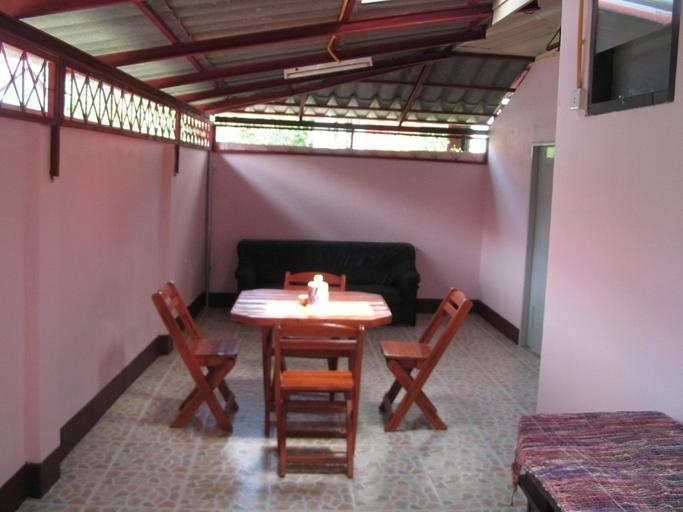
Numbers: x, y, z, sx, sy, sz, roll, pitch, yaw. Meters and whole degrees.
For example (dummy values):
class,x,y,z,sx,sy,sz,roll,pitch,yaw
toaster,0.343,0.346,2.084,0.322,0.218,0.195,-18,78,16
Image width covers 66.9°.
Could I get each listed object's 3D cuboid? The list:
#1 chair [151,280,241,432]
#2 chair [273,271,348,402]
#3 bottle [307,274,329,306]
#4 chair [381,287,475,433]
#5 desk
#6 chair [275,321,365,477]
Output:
class,x,y,z,sx,sy,sz,roll,pitch,yaw
chair,-1.365,0.922,4.990,0.696,1.334,0.641,-1,6,-10
chair,-0.343,0.778,6.137,1.011,1.542,1.003,1,1,0
bottle,-0.255,0.324,5.075,0.230,0.377,0.231,1,14,0
chair,0.788,0.989,5.155,0.774,1.348,0.744,5,4,-5
desk,-0.370,1.047,5.125,1.339,1.117,1.335,0,3,-12
chair,-0.194,1.245,4.427,0.777,1.461,0.834,2,27,-4
